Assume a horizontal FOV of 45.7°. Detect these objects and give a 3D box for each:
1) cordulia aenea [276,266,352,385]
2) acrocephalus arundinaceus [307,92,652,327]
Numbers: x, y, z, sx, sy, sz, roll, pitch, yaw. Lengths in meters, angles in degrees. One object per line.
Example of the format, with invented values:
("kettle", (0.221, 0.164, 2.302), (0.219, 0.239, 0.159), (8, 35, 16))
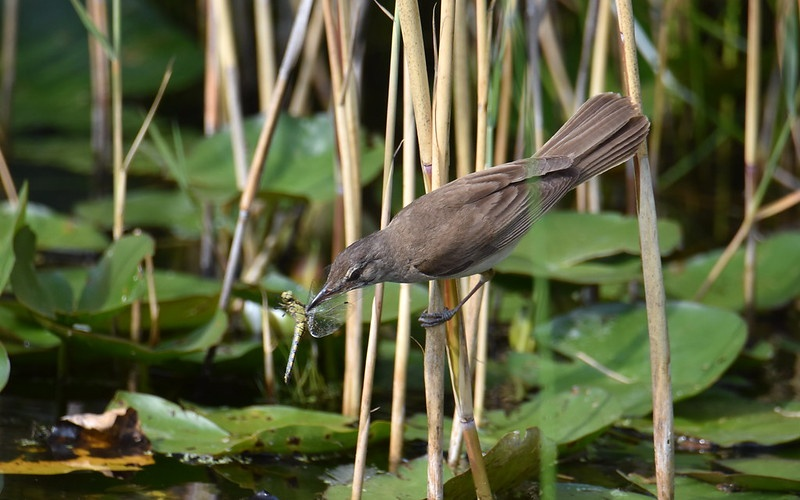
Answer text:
("cordulia aenea", (-0.506, 0.431, 5.615), (0.329, 0.626, 0.369), (2, 1, -5))
("acrocephalus arundinaceus", (0.489, -0.307, 5.441), (1.628, 1.407, 0.397), (9, 9, -13))
